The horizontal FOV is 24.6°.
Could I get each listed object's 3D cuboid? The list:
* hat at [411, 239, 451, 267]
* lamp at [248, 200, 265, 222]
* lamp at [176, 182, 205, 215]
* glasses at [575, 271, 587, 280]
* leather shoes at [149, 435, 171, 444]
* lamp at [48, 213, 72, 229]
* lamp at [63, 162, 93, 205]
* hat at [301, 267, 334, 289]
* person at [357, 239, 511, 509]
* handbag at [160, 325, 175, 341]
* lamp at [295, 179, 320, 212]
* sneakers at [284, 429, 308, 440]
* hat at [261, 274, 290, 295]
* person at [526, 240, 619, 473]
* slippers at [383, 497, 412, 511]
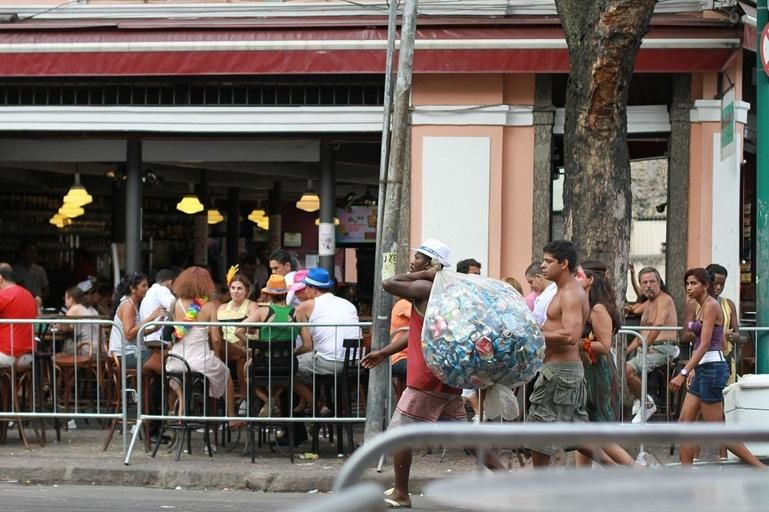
[{"bbox_3d":[0.633,0.016,23.868,0.422,0.161,0.378,29,2,-8],"label":"hat"},{"bbox_3d":[-2.906,-0.936,39.669,0.368,0.548,0.372,5,1,14],"label":"lamp"},{"bbox_3d":[-3.927,-1.121,35.129,0.618,0.701,0.620,2,0,10],"label":"lamp"},{"bbox_3d":[2.712,0.295,24.402,0.090,0.118,0.110,-4,23,4],"label":"glasses"},{"bbox_3d":[-3.297,2.806,26.557,0.319,0.102,0.194,0,-1,30],"label":"leather shoes"},{"bbox_3d":[-6.653,-0.679,35.941,0.327,0.220,0.327,2,1,29],"label":"lamp"},{"bbox_3d":[-5.762,-1.297,33.491,0.688,0.778,0.691,1,-3,-27],"label":"lamp"},{"bbox_3d":[-0.986,0.398,26.858,0.355,0.139,0.323,13,2,-27],"label":"hat"},{"bbox_3d":[0.293,1.615,23.930,1.021,3.643,1.363,4,-5,-43],"label":"person"},{"bbox_3d":[-3.160,1.151,25.766,0.226,0.209,0.380,1,-5,-4],"label":"handbag"},{"bbox_3d":[-1.567,-1.242,35.901,0.394,0.638,0.832,0,-4,-3],"label":"lamp"},{"bbox_3d":[-1.274,2.712,26.394,0.223,0.168,0.222,0,-6,1],"label":"sneakers"},{"bbox_3d":[-1.680,0.472,27.310,0.353,0.160,0.413,2,-4,-8],"label":"hat"},{"bbox_3d":[2.359,1.338,23.862,0.805,3.074,1.374,0,-4,0],"label":"person"},{"bbox_3d":[0.180,3.349,23.669,0.239,0.194,0.675,2,-4,-33],"label":"slippers"}]
